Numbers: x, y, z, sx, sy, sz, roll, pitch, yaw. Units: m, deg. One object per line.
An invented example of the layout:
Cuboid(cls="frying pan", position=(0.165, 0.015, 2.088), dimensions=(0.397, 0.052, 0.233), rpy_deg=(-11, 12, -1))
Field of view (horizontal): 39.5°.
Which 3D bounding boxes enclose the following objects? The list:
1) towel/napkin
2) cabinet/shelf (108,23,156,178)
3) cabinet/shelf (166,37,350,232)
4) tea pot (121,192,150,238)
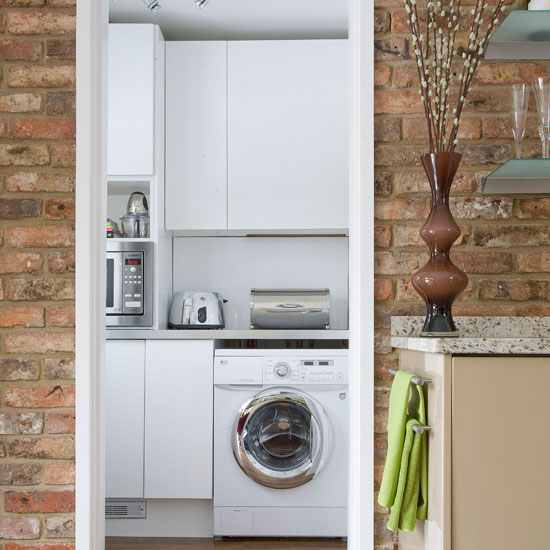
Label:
Cuboid(cls="towel/napkin", position=(0.346, 0.487, 2.119), dimensions=(0.147, 0.419, 0.249), rpy_deg=(-3, 0, 0))
Cuboid(cls="cabinet/shelf", position=(-0.623, -0.795, 3.532), dimensions=(0.323, 0.586, 0.219), rpy_deg=(2, 7, -6))
Cuboid(cls="cabinet/shelf", position=(-0.071, -0.667, 3.584), dimensions=(1.199, 0.915, 0.543), rpy_deg=(1, 2, -2))
Cuboid(cls="tea pot", position=(-0.651, -0.288, 3.590), dimensions=(0.176, 0.195, 0.167), rpy_deg=(2, 11, 0))
